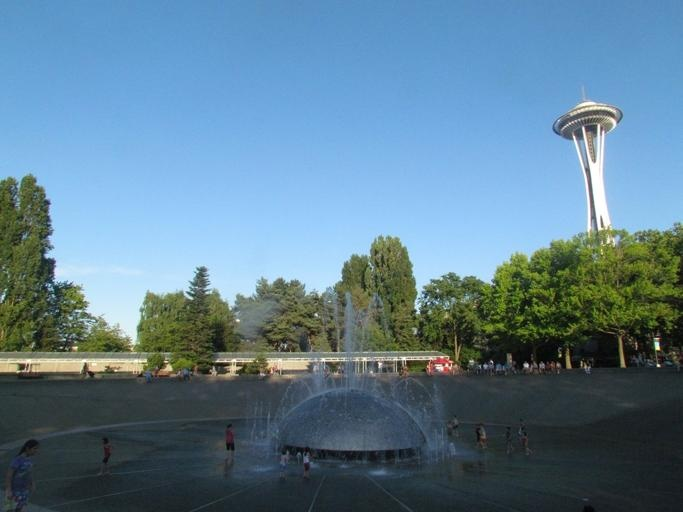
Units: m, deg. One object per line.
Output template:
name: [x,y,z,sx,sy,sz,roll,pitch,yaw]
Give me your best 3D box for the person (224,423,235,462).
person: [-4.894,8.006,24.594,0.392,1.441,2.107,-1,-3,-12]
